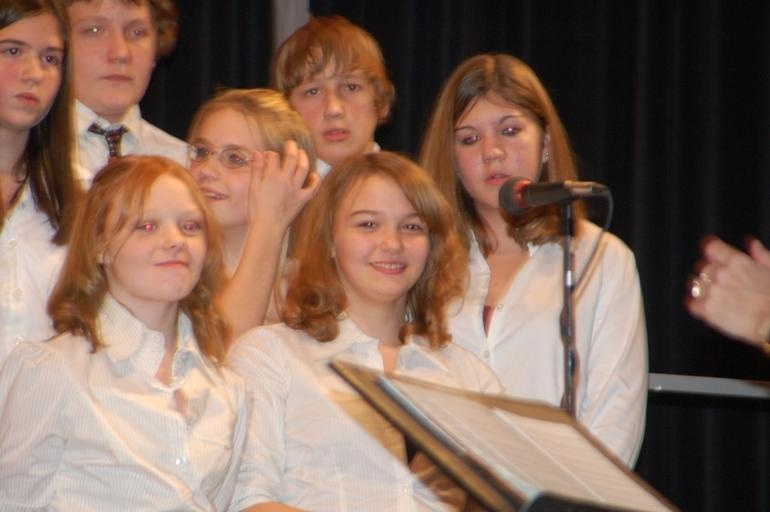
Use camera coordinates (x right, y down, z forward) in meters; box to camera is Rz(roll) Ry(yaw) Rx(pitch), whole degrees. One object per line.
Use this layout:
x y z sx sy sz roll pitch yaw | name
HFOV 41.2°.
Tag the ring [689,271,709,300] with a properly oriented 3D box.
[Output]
0.874 0.084 2.867 0.052 0.067 0.021 20 -9 41 | ring
